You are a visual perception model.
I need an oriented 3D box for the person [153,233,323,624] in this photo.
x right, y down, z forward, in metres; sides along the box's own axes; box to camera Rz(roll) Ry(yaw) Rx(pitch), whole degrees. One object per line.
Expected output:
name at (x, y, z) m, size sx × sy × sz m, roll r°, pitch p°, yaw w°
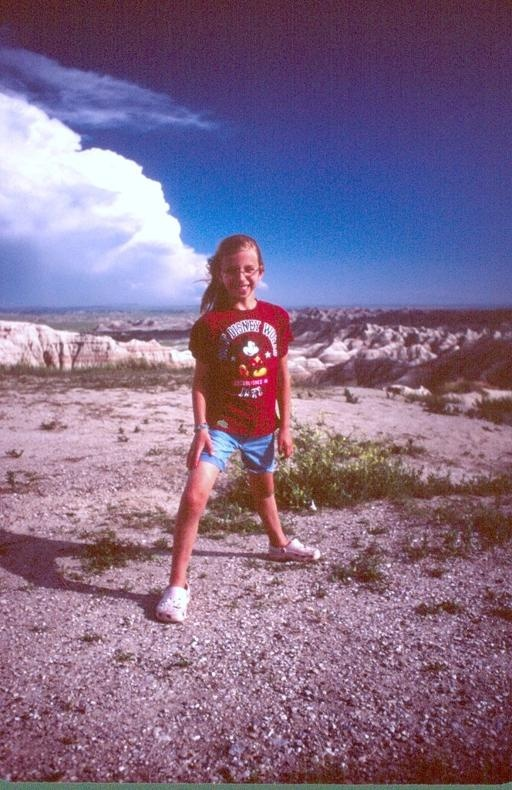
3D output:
person at (-0.094, 0.146, 2.995) m, size 0.360 × 1.814 × 0.930 m, roll 5°, pitch 9°, yaw 38°

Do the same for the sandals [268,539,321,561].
sandals at (0.217, 0.889, 3.442) m, size 0.297 × 0.146 × 0.121 m, roll 0°, pitch 3°, yaw 2°

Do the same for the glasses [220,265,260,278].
glasses at (-0.061, -0.579, 2.879) m, size 0.181 × 0.059 × 0.101 m, roll -2°, pitch 7°, yaw -11°
